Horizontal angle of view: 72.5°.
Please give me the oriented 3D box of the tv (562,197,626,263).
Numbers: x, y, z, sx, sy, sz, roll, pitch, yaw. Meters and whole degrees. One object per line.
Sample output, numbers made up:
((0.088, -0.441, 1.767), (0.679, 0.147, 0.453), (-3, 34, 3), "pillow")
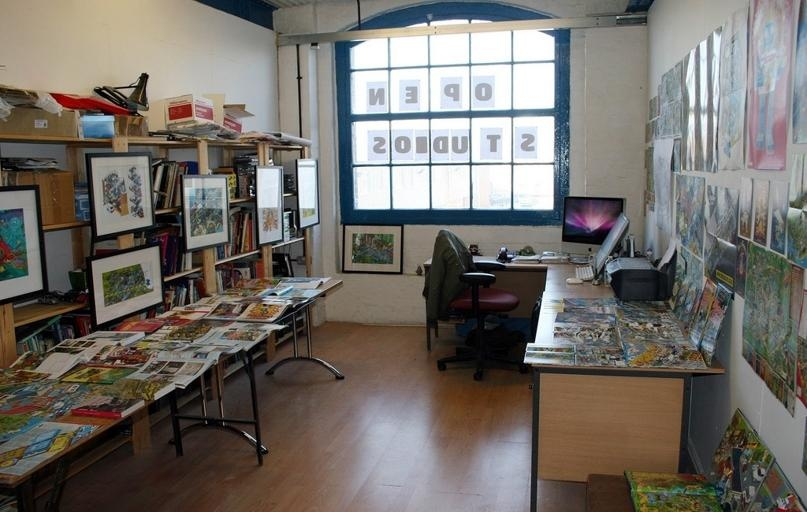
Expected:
((1.905, -0.281, 5.950), (0.904, 0.765, 0.376), (-1, 5, -31), "tv")

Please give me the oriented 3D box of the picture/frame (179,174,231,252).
((-1.737, -0.386, 4.797), (0.049, 0.614, 0.629), (5, 13, 24), "picture/frame")

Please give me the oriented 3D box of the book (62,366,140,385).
((-1.847, 0.727, 3.366), (0.408, 0.018, 0.385), (-5, 3, 0), "book")

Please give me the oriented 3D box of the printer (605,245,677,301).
((1.924, 0.115, 4.500), (0.493, 0.387, 0.562), (1, 9, 16), "printer")

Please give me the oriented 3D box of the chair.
((0.737, 0.464, 5.831), (1.070, 1.348, 1.036), (0, 4, -18), "chair")

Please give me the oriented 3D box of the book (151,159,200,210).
((-1.907, -0.595, 4.628), (0.094, 0.390, 0.386), (4, 9, 9), "book")

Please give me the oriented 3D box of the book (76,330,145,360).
((-2.022, 0.585, 3.760), (0.228, 0.051, 0.224), (4, 10, 12), "book")

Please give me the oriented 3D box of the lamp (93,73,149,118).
((-2.234, -1.295, 4.478), (0.325, 0.223, 0.442), (28, 14, 23), "lamp")

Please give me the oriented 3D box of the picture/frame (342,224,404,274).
((-0.349, -0.089, 7.032), (0.641, 0.508, 0.027), (2, 4, 11), "picture/frame")

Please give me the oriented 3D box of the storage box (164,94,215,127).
((-1.901, -1.268, 4.784), (0.417, 0.219, 0.426), (10, 11, 21), "storage box")

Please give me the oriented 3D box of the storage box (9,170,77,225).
((-2.524, -0.406, 3.883), (0.368, 0.356, 0.374), (-3, 6, -32), "storage box")

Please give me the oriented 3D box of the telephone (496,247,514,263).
((1.147, -0.016, 6.237), (0.102, 0.123, 0.349), (1, 9, 16), "telephone")

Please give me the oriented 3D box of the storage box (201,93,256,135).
((-1.631, -1.325, 5.142), (0.493, 0.403, 0.612), (2, 9, 2), "storage box")
